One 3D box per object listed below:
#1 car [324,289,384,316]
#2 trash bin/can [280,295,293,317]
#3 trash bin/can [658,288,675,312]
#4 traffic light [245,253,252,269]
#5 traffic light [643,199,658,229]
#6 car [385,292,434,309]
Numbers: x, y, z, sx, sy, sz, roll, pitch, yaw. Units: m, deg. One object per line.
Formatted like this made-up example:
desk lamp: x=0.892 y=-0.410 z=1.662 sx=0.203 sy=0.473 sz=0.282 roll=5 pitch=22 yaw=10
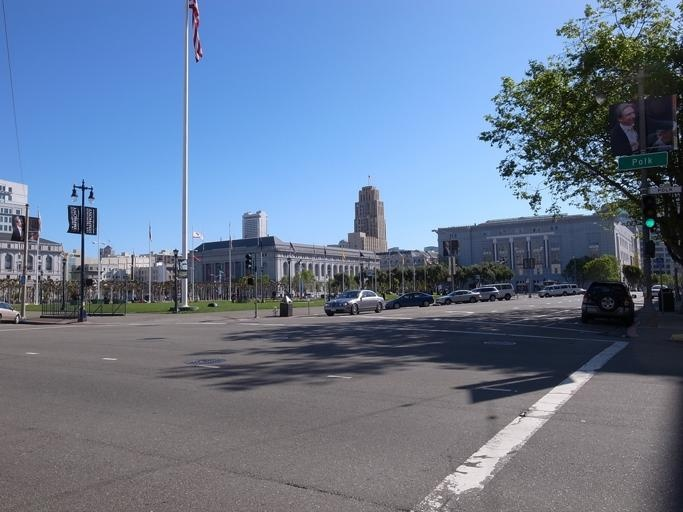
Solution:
car: x=0.879 y=3.099 z=41.767 sx=1.576 sy=1.177 sz=3.665 roll=-6 pitch=-10 yaw=33
trash bin/can: x=-3.345 y=3.065 z=38.878 sx=0.722 sy=1.296 sz=0.723 roll=0 pitch=-3 yaw=-33
trash bin/can: x=19.286 y=2.666 z=37.194 sx=0.774 sy=1.252 sz=2.390 roll=-3 pitch=-4 yaw=26
traffic light: x=-5.789 y=0.379 z=39.840 sx=0.434 sy=0.891 sz=1.546 roll=-1 pitch=-3 yaw=-9
traffic light: x=11.589 y=-1.695 z=23.618 sx=0.377 sy=1.217 sz=0.737 roll=-3 pitch=-3 yaw=25
car: x=5.869 y=3.674 z=52.458 sx=1.671 sy=1.171 sz=4.921 roll=-5 pitch=-5 yaw=43
